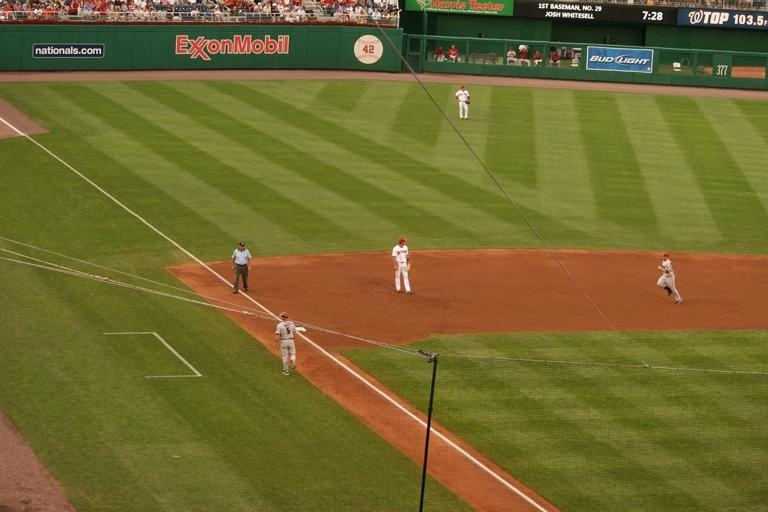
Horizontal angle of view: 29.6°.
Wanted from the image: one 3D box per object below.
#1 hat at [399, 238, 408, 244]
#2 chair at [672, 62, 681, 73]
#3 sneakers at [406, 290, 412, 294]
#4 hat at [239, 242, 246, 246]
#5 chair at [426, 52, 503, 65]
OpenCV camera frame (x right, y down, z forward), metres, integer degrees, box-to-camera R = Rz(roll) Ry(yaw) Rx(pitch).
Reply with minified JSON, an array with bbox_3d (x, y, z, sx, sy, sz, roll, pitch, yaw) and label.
[{"bbox_3d":[0.638,-0.518,54.086,0.343,0.213,0.232,-5,16,3],"label":"hat"},{"bbox_3d":[16.310,-10.564,81.371,0.569,0.491,0.480,0,13,3],"label":"chair"},{"bbox_3d":[0.854,1.360,54.262,0.163,0.205,0.440,-1,-2,3],"label":"sneakers"},{"bbox_3d":[-5.266,-0.420,53.498,0.243,0.104,0.247,5,-12,-22],"label":"hat"},{"bbox_3d":[4.727,-11.187,82.661,4.122,0.644,0.814,0,12,4],"label":"chair"}]
